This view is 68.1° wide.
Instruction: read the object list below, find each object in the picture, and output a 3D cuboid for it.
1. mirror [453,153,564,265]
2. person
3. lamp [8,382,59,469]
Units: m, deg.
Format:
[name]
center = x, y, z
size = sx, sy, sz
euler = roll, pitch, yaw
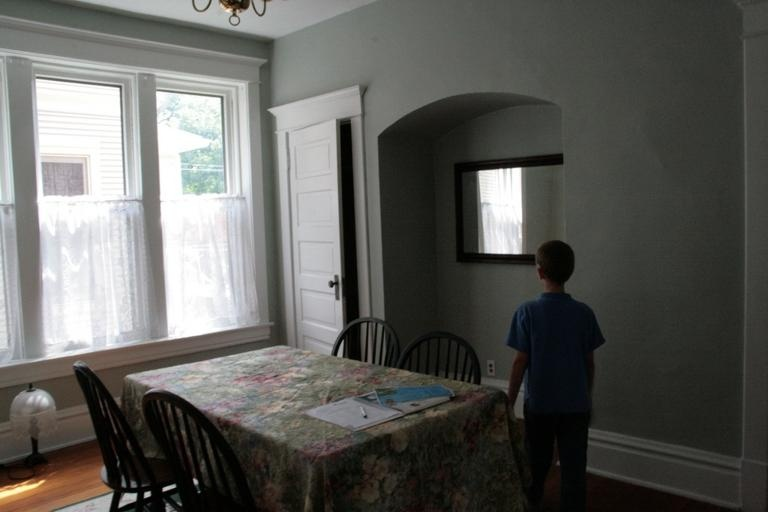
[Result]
[mirror]
center = 1.200, -0.368, 5.104
size = 1.281, 0.938, 0.086
euler = -2, 0, -18
[person]
center = 0.965, 0.758, 3.215
size = 0.566, 1.625, 0.474
euler = -3, 14, 1
[lamp]
center = -2.715, 1.302, 4.421
size = 0.283, 0.655, 0.336
euler = -13, 17, -35
